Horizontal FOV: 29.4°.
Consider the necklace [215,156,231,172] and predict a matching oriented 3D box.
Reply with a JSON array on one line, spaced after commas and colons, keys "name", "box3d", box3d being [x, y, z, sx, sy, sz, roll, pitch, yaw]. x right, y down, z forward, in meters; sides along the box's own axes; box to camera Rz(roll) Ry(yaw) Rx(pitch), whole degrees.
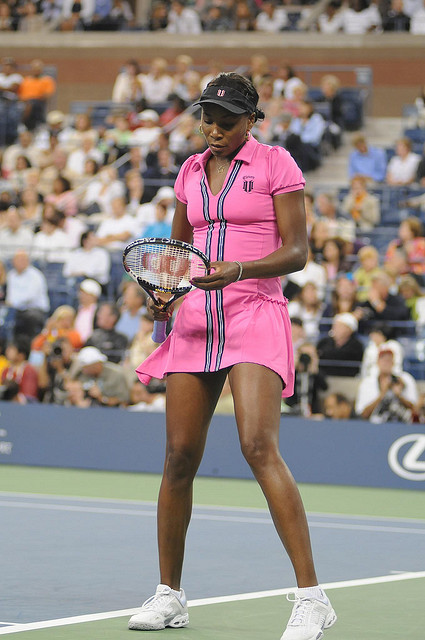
[{"name": "necklace", "box3d": [0.037, -0.519, 2.714, 0.012, 0.054, 0.077, 29, -13, -37]}]

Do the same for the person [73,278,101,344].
[{"name": "person", "box3d": [-1.350, -0.114, 8.734, 0.286, 0.570, 0.827, -2, 11, -8]}]

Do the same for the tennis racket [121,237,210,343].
[{"name": "tennis racket", "box3d": [-0.150, -0.128, 2.561, 0.279, 0.261, 0.369, 0, 11, -1]}]

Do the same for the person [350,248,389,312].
[{"name": "person", "box3d": [1.570, -0.419, 8.099, 0.359, 0.528, 0.886, 2, 11, 9]}]

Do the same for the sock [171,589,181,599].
[{"name": "sock", "box3d": [-0.117, 0.906, 2.687, 0.028, 0.033, 0.032, 6, -31, -33]}]

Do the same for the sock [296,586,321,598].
[{"name": "sock", "box3d": [0.279, 0.789, 2.347, 0.067, 0.035, 0.025, 2, 12, 9]}]
